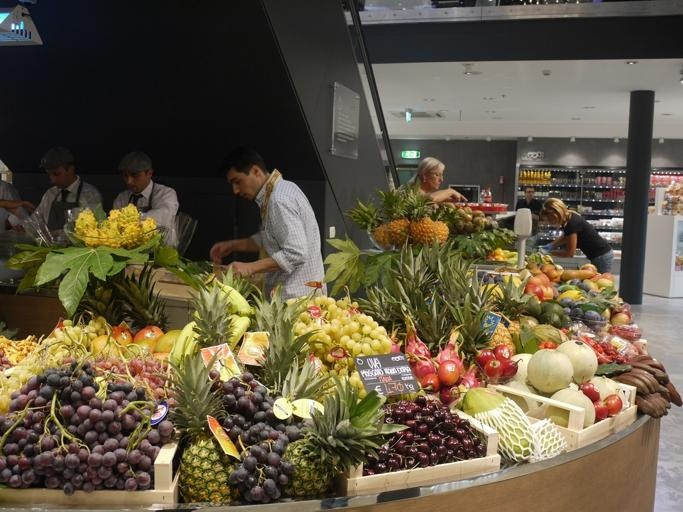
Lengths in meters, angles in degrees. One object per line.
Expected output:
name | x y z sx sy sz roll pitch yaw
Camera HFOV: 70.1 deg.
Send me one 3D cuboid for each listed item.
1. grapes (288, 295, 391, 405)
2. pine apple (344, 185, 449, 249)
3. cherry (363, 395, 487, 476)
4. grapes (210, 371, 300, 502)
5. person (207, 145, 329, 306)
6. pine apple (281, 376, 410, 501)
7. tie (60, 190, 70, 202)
grapes | 0.002 0.320 1.799 0.291 0.314 0.293 -4 15 -30
pine apple | 0.316 -0.195 2.583 0.527 0.336 0.338 7 9 42
cherry | 0.257 0.542 1.466 0.230 0.108 0.248 -1 12 -11
grapes | -0.231 0.507 1.345 0.248 0.303 0.177 0 6 -9
person | -0.479 -0.206 3.333 0.625 1.043 0.658 2 6 8
pine apple | 0.016 0.512 1.384 0.345 0.298 0.163 0 6 -8
tie | -2.479 -0.543 4.367 0.068 0.096 0.024 -2 -8 9
